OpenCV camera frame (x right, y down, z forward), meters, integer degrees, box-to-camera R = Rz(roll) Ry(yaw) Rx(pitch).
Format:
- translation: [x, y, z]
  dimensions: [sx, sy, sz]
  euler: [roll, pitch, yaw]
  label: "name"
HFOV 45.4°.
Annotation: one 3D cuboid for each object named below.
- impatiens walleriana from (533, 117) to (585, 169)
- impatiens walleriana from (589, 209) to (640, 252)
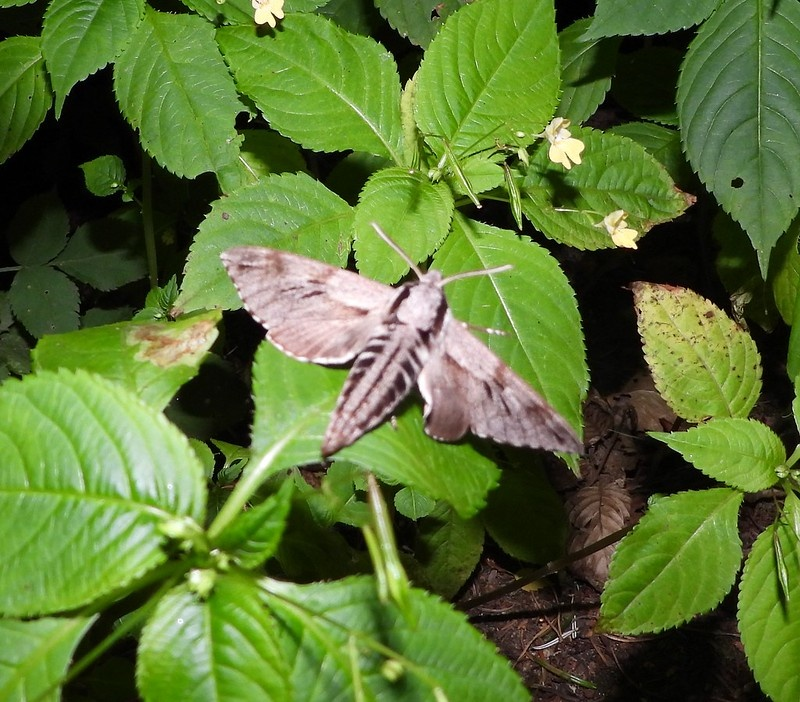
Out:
- translation: [0.460, -0.576, 2.711]
  dimensions: [0.109, 0.128, 0.144]
  euler: [-16, 51, 4]
  label: "impatiens walleriana"
- translation: [0.633, -0.351, 2.789]
  dimensions: [0.100, 0.050, 0.122]
  euler: [-39, 84, 16]
  label: "impatiens walleriana"
